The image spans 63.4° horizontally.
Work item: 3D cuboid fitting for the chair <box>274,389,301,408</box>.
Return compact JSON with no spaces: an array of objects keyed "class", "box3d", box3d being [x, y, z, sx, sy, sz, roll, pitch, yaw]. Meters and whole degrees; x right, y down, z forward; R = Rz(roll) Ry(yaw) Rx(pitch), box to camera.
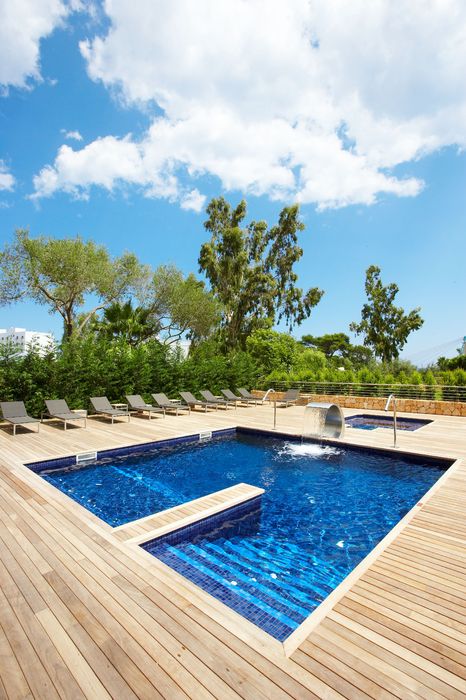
[{"class":"chair","box3d":[2.344,1.933,15.439,0.577,0.490,1.056,-5,-5,30]}]
